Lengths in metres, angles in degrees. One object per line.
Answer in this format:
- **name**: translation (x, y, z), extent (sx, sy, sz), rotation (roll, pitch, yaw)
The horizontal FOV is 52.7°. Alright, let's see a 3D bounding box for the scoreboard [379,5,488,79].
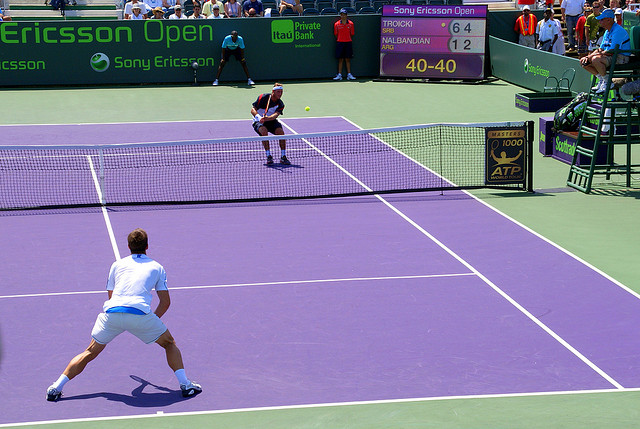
- **scoreboard**: translation (4.509, -6.655, 24.605), extent (2.937, 2.080, 0.111), rotation (2, 7, 13)

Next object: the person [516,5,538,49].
- **person**: translation (8.217, -7.411, 25.569), extent (0.571, 1.531, 0.961), rotation (-10, 20, -28)

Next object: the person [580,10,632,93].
- **person**: translation (5.859, -3.256, 12.995), extent (0.840, 1.638, 1.121), rotation (-7, 18, -19)

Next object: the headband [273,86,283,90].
- **headband**: translation (-0.939, -2.851, 14.528), extent (0.181, 0.084, 0.249), rotation (-3, 17, -9)

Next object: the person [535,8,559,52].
- **person**: translation (8.732, -6.993, 24.561), extent (0.776, 1.525, 0.514), rotation (6, 19, 20)

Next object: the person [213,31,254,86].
- **person**: translation (-3.239, -6.083, 24.749), extent (1.591, 2.125, 1.090), rotation (2, 33, -3)

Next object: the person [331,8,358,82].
- **person**: translation (0.997, -6.669, 25.594), extent (0.990, 2.724, 0.700), rotation (-3, 18, -8)
